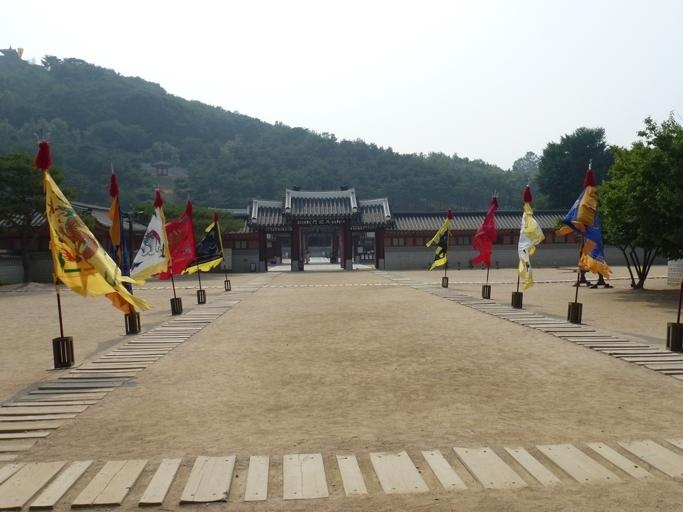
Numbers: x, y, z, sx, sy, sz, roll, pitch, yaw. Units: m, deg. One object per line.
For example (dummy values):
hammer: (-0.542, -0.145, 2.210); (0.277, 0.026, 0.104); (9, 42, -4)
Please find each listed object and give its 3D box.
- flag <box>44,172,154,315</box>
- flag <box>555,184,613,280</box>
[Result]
flag: (-4.913, -0.227, 10.583); (1.334, 2.780, 0.845); (-3, 6, -26)
flag: (6.580, -0.682, 14.574); (1.056, 2.347, 0.550); (1, 6, 23)
